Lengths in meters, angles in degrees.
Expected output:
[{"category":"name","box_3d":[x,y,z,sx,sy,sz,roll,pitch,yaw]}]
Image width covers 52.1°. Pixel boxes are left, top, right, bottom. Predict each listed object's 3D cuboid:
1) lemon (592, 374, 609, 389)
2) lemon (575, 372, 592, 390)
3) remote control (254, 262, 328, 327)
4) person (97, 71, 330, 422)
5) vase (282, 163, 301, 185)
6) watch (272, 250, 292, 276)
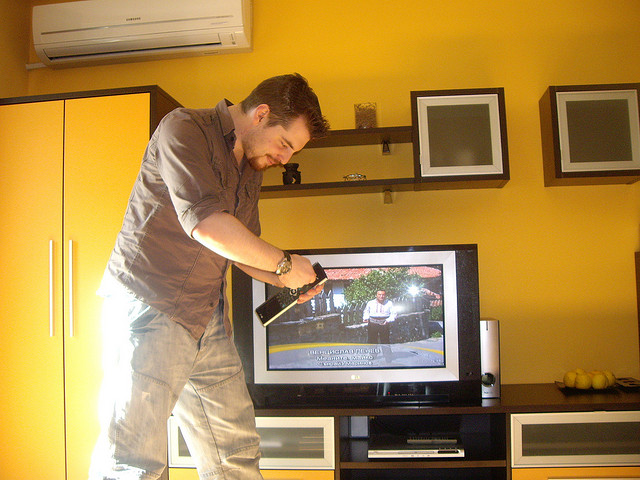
[{"category":"lemon","box_3d":[1.601,0.803,3.709,0.092,0.081,0.030,-1,-6,4]},{"category":"lemon","box_3d":[1.510,0.800,3.719,0.079,0.083,0.044,15,-7,15]},{"category":"remote control","box_3d":[-0.136,0.278,3.266,0.484,0.203,0.062,-38,-45,-4]},{"category":"person","box_3d":[-0.507,0.056,2.897,0.927,1.546,0.564,1,-7,-15]},{"category":"vase","box_3d":[-0.178,-0.401,3.938,0.096,0.122,0.123,0,-5,1]},{"category":"watch","box_3d":[-0.155,0.101,2.835,0.067,0.108,0.093,15,-16,-39]}]
